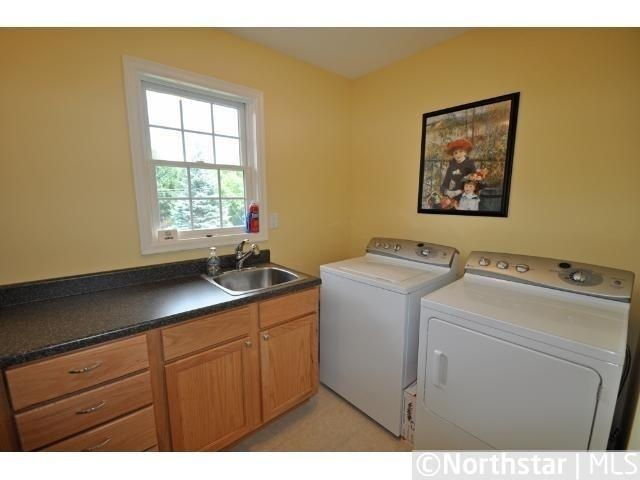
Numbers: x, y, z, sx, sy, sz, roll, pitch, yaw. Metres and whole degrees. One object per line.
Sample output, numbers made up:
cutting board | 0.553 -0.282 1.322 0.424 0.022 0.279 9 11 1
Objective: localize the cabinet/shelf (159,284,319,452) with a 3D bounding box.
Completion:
cabinet/shelf | -0.494 0.738 2.505 0.518 0.869 0.994 5 8 41

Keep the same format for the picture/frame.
picture/frame | 0.998 -0.587 2.900 0.061 1.018 0.919 -5 8 -44

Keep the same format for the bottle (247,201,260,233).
bottle | -0.479 -0.155 3.098 0.092 0.218 0.053 0 10 -10

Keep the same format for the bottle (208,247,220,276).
bottle | -0.701 0.133 2.884 0.083 0.175 0.166 0 9 -12

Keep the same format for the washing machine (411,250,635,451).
washing machine | 1.074 0.683 2.404 0.944 1.103 0.629 8 11 36

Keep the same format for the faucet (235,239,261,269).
faucet | -0.505 0.090 3.020 0.169 0.199 0.240 0 9 -9

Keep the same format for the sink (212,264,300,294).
sink | -0.427 0.260 2.929 0.298 0.169 0.278 -3 8 -42
